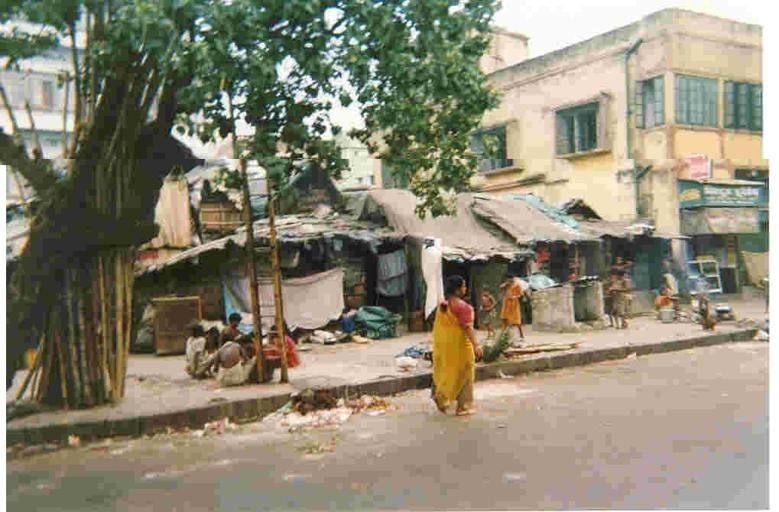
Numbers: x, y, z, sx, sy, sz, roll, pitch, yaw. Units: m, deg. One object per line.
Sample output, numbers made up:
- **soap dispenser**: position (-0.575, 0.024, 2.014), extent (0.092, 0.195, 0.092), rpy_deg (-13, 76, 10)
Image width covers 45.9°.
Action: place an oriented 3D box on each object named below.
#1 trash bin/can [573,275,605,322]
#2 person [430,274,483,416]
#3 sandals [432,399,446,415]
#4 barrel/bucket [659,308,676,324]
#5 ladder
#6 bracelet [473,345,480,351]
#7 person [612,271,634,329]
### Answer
- **trash bin/can**: position (4.508, 0.986, 21.021), extent (0.572, 0.947, 0.613), rpy_deg (-4, 2, -41)
- **person**: position (1.024, 1.439, 14.575), extent (0.754, 2.189, 0.591), rpy_deg (-2, -4, 3)
- **sandals**: position (0.798, 2.409, 14.629), extent (0.242, 0.088, 0.178), rpy_deg (24, -27, -37)
- **barrel/bucket**: position (6.345, 1.375, 21.047), extent (0.352, 0.294, 0.266), rpy_deg (1, 4, 5)
- **ladder**: position (-2.238, -0.319, 15.526), extent (0.967, 4.937, 2.158), rpy_deg (-1, -4, -7)
- **bracelet**: position (1.344, 1.446, 14.348), extent (0.055, 0.057, 0.091), rpy_deg (-32, -13, -17)
- **person**: position (5.370, 1.078, 21.404), extent (0.373, 0.852, 0.421), rpy_deg (-16, 30, 13)
